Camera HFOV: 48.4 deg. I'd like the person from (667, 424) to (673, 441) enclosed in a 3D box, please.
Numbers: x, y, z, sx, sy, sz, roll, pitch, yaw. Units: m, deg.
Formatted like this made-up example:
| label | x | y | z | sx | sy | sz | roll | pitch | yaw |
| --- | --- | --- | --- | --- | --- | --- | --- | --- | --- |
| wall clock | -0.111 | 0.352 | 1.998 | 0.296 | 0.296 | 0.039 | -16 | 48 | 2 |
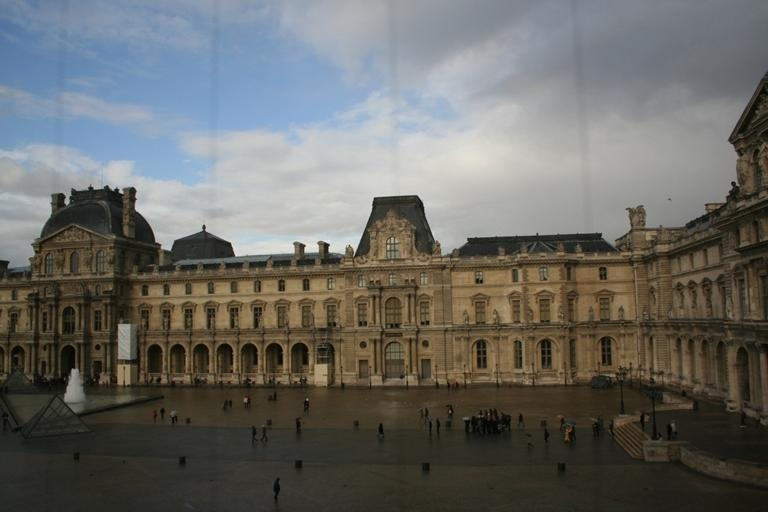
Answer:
| label | x | y | z | sx | sy | sz | roll | pitch | yaw |
| --- | --- | --- | --- | --- | --- | --- | --- | --- | --- |
| person | 26.127 | 15.851 | 77.765 | 0.461 | 1.315 | 1.482 | 0 | 6 | 18 |
